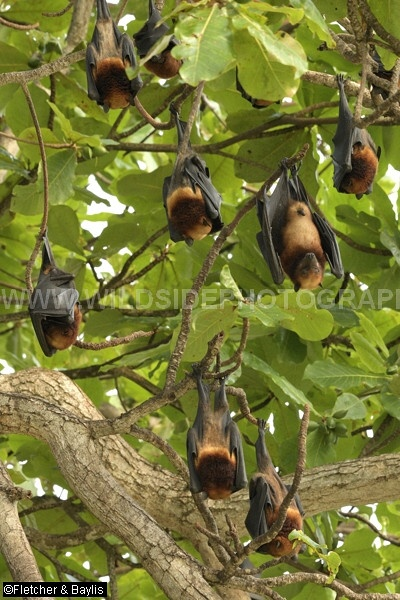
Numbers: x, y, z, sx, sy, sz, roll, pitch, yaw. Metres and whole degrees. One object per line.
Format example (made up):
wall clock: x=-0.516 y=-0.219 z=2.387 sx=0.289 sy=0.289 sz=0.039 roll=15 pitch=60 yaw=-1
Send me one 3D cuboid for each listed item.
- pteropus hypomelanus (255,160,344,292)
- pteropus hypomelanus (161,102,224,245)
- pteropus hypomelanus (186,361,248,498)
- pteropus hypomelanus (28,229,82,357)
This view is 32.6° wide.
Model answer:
pteropus hypomelanus: x=0.336 y=-0.222 z=2.222 sx=0.270 sy=0.412 sz=0.147 roll=-3 pitch=-4 yaw=-18
pteropus hypomelanus: x=-0.010 y=-0.324 z=1.935 sx=0.180 sy=0.348 sz=0.152 roll=2 pitch=-18 yaw=26
pteropus hypomelanus: x=0.044 y=0.380 z=1.982 sx=0.192 sy=0.374 sz=0.134 roll=0 pitch=-25 yaw=1
pteropus hypomelanus: x=-0.463 y=0.018 z=2.161 sx=0.146 sy=0.304 sz=0.271 roll=16 pitch=-17 yaw=-21
